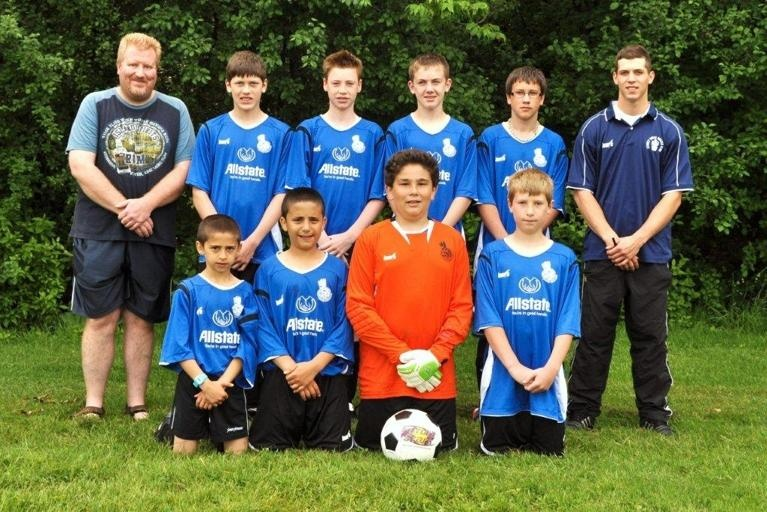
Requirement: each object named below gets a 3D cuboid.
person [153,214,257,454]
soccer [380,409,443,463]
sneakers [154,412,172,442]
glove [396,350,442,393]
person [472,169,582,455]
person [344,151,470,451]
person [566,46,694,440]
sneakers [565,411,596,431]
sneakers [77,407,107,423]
[{"bbox_3d":[-1.569,1.057,7.591,0.906,2.756,0.817,2,6,-18],"label":"person"},{"bbox_3d":[0.240,1.577,7.320,0.433,0.429,0.424,6,1,9],"label":"soccer"},{"bbox_3d":[-1.972,1.570,7.583,0.125,0.156,0.365,8,-3,-11],"label":"sneakers"},{"bbox_3d":[0.320,1.006,7.427,0.327,0.367,0.131,-42,6,-1],"label":"glove"},{"bbox_3d":[1.312,0.536,7.725,1.049,2.588,0.798,-1,16,3],"label":"person"},{"bbox_3d":[0.206,0.542,7.737,1.124,2.888,0.989,1,9,0],"label":"person"},{"bbox_3d":[2.368,-0.184,8.227,1.118,3.666,0.805,4,12,13],"label":"person"},{"bbox_3d":[1.933,1.616,8.239,0.237,0.104,0.127,9,3,-1],"label":"sneakers"},{"bbox_3d":[-2.833,1.516,8.121,0.260,0.098,0.260,-2,12,-16],"label":"sneakers"}]
